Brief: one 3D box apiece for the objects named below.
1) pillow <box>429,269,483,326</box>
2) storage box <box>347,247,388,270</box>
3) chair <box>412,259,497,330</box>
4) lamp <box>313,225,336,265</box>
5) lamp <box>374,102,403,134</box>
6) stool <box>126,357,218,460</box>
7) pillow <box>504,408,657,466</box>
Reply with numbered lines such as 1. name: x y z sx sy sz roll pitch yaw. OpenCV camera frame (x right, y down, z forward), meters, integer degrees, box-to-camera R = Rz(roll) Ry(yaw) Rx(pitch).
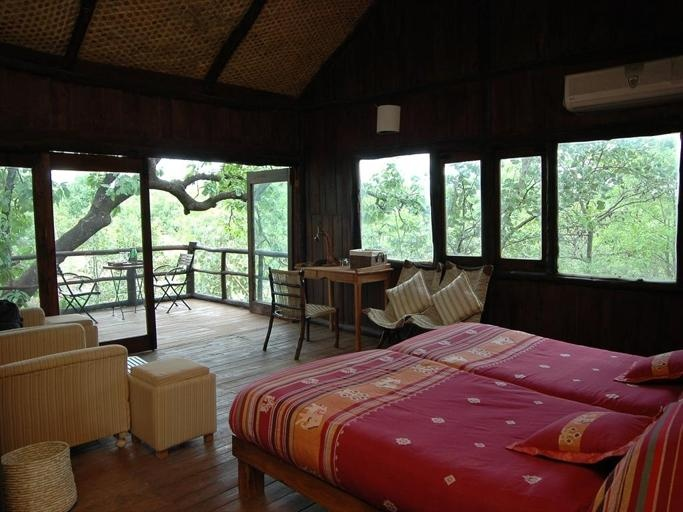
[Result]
1. pillow: 1.177 0.475 5.121 0.151 0.485 0.516 7 -40 -43
2. storage box: 0.290 0.022 5.994 0.280 0.174 0.274 -5 7 -43
3. chair: 1.188 0.401 5.324 0.721 0.706 0.782 3 -3 -42
4. lamp: -0.216 -0.148 6.689 0.309 0.432 0.748 -2 13 -3
5. lamp: 0.554 -1.572 5.738 0.325 0.352 0.322 2 2 13
6. stool: -1.250 1.044 3.826 0.625 0.654 0.625 -6 9 -35
7. pillow: 1.179 0.869 2.445 0.609 0.163 0.386 6 14 29
